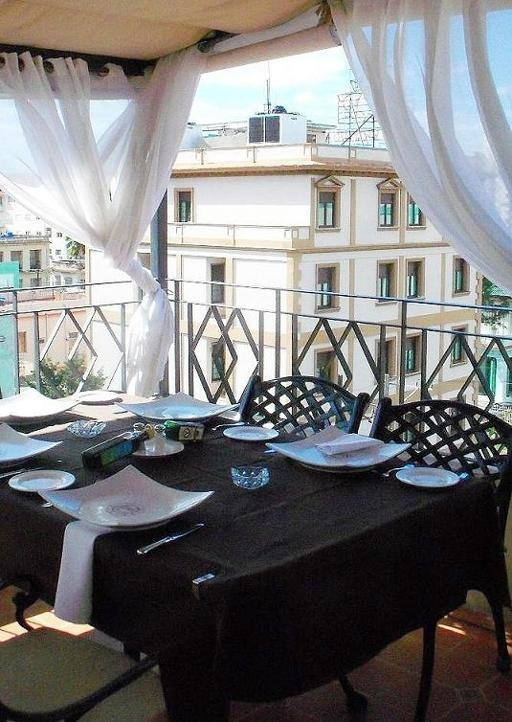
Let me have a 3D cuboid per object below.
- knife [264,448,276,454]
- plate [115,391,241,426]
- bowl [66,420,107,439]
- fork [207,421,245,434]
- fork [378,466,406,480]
[{"bbox_3d":[0.036,0.234,1.493,0.017,0.013,0.070,5,-2,-4],"label":"knife"},{"bbox_3d":[-0.250,0.116,1.887,0.265,0.092,0.303,9,12,44],"label":"plate"},{"bbox_3d":[-0.478,0.191,1.643,0.061,0.023,0.062,1,12,0],"label":"bowl"},{"bbox_3d":[-0.099,0.195,1.735,0.035,0.015,0.111,7,2,25],"label":"fork"},{"bbox_3d":[0.302,0.254,1.303,0.020,0.015,0.104,0,8,34],"label":"fork"}]
